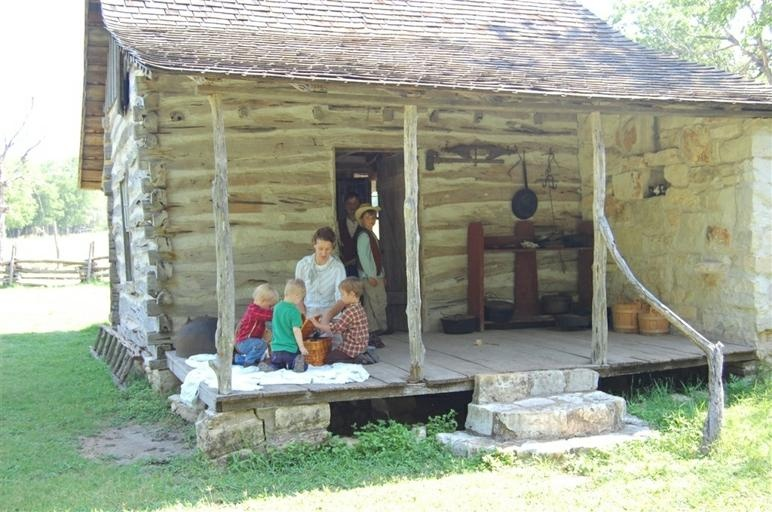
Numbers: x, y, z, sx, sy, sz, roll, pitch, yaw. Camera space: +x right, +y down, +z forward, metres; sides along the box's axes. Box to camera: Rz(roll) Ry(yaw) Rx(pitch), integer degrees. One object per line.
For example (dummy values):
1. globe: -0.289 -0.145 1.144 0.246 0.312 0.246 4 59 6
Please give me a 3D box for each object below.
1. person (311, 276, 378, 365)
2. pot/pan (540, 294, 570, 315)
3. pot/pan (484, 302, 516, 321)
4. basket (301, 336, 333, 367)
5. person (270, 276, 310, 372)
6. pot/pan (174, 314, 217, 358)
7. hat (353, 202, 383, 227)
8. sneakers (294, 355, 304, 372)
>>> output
1. person: -0.549 0.821 7.783 0.915 1.013 0.691 5 5 1
2. pot/pan: 2.688 0.773 10.067 0.555 0.327 0.287 -1 25 -4
3. pot/pan: 1.747 0.890 9.856 0.369 0.321 0.335 -11 10 -38
4. basket: -0.813 1.139 7.431 0.293 0.215 0.349 0 -3 13
5. person: -1.149 0.821 7.339 0.484 1.061 0.225 -5 9 -5
6. pot/pan: -2.460 1.045 8.576 0.614 0.350 0.603 1 5 28
7. hat: -0.314 -0.629 9.069 0.374 0.134 0.358 2 -35 -30
8. sneakers: -0.998 1.263 7.327 0.126 0.174 0.069 5 -10 0
